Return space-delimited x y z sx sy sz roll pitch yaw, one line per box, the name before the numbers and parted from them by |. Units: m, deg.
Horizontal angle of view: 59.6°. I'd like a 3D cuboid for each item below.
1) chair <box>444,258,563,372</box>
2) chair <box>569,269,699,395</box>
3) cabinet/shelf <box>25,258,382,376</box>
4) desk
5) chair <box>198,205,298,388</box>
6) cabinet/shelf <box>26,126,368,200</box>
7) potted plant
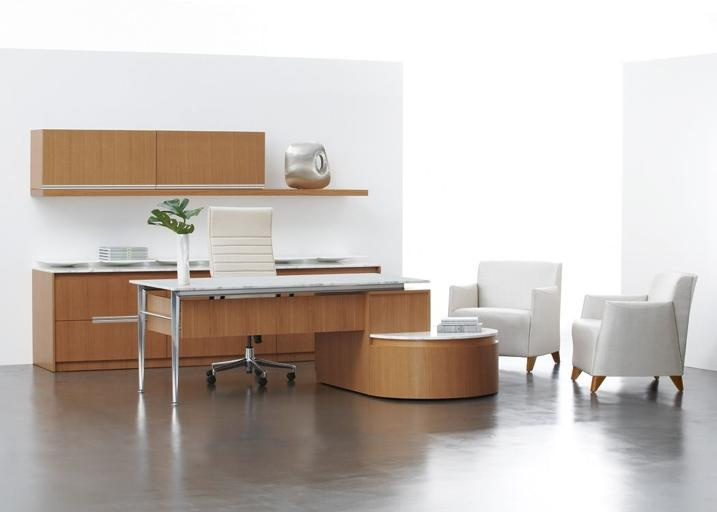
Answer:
chair | 1.805 0.668 7.686 1.200 1.230 1.065 -1 -2 40
chair | 2.868 0.763 6.637 1.164 1.114 1.119 -1 -1 18
cabinet/shelf | -1.635 0.930 7.931 4.095 1.159 1.046 4 -1 -3
desk | -0.289 0.777 6.121 3.284 1.155 0.923 0 1 -9
chair | -1.132 0.374 6.593 1.168 1.745 1.202 1 1 10
cabinet/shelf | -1.848 -1.137 8.050 4.146 0.818 0.605 0 1 -1
potted plant | -1.687 -0.131 5.818 0.567 0.773 0.405 -3 1 20
